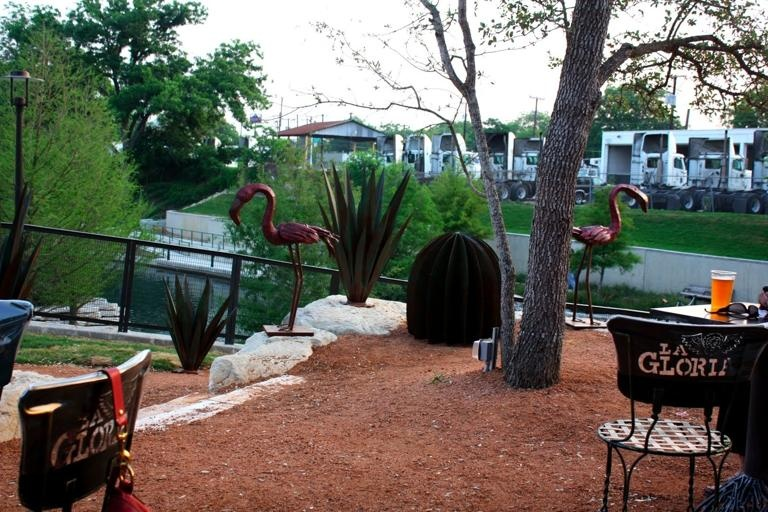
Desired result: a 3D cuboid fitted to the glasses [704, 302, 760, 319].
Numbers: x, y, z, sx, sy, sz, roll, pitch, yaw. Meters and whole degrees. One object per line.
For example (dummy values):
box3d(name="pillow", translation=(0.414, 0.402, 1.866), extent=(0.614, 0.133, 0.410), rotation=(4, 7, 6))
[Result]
box3d(name="glasses", translation=(2.977, 0.460, 5.877), extent=(0.223, 0.072, 0.190), rotation=(-2, 3, -32))
